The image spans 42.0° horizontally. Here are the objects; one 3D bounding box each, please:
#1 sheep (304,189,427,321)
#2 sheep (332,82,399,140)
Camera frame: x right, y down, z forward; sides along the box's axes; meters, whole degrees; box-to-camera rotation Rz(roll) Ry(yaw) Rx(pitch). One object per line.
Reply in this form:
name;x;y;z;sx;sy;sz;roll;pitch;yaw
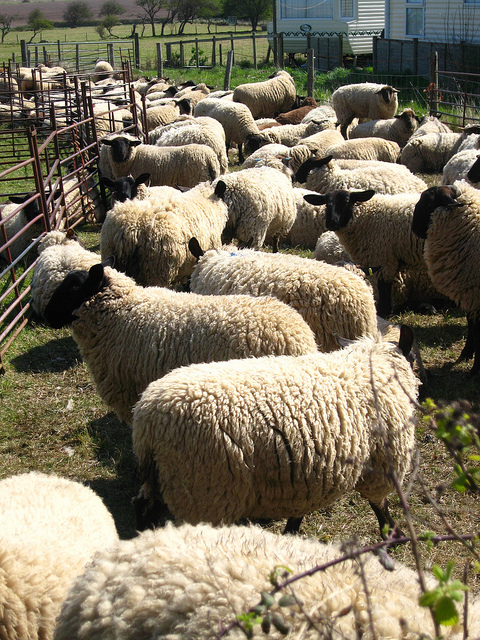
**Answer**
sheep;1.596;-0.796;7.005;1.972;1.285;0.866;-9;15;-37
sheep;3.311;-5.406;16.190;0.728;1.401;2.412;-21;27;-20
